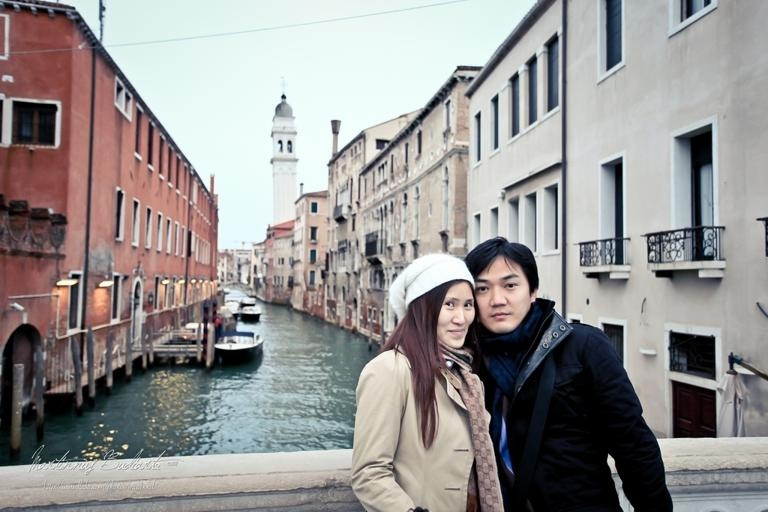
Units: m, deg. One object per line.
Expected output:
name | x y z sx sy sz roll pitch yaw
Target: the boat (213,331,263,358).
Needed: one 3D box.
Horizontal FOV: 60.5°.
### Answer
boat | -7.947 4.978 35.681 1.810 1.309 3.039 6 3 10
